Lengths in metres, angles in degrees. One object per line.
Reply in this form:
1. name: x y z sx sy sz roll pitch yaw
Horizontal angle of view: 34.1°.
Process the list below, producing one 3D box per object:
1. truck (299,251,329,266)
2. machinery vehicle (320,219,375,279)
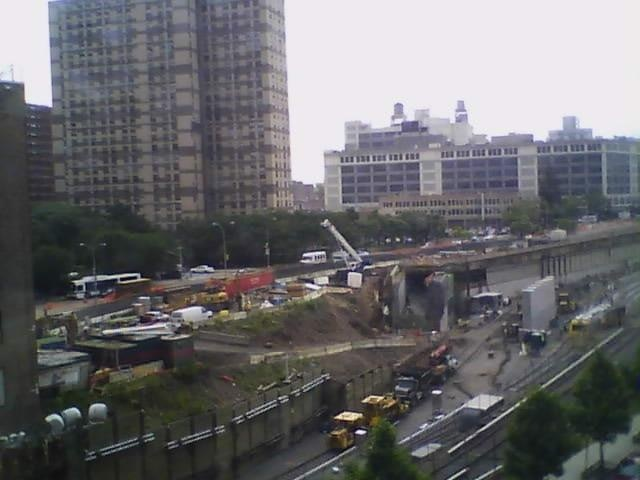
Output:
1. truck: -0.518 1.877 110.057 1.154 1.110 2.900 6 10 32
2. machinery vehicle: 2.740 1.038 111.296 1.847 4.714 8.322 13 -17 46
